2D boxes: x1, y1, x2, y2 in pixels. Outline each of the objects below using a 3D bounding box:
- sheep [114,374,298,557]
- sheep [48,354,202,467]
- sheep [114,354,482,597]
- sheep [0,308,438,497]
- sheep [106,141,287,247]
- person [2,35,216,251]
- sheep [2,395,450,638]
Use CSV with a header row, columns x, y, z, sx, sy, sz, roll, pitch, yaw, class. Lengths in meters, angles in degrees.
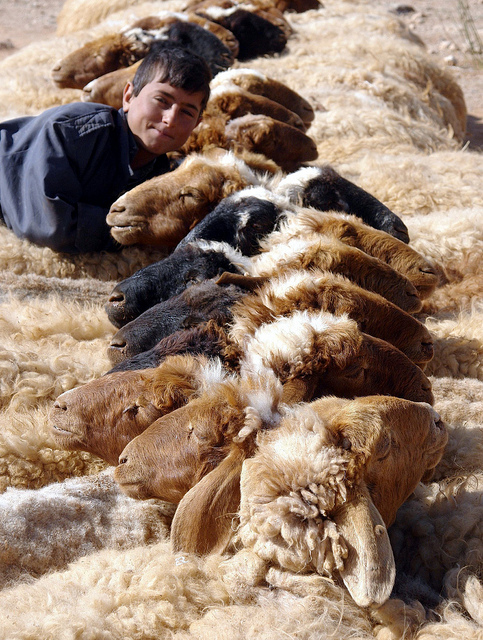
x,y,z,sx,sy,sz,roll,pitch,yaw,class
-0.096,0.426,2.888,0.682,0.438,0.421,-20,14,6,sheep
-0.395,0.291,3.034,0.564,0.169,0.306,-16,22,-7,sheep
0.125,0.507,2.886,1.503,0.698,0.510,5,36,-26,sheep
-0.054,0.283,2.968,0.981,0.443,0.267,-18,26,0,sheep
-0.101,-0.470,4.281,1.017,0.457,0.318,-7,-2,17,sheep
-0.706,-0.835,4.575,1.422,0.503,0.805,-22,29,4,person
0.068,0.610,2.728,1.363,0.566,0.566,-17,25,-5,sheep
